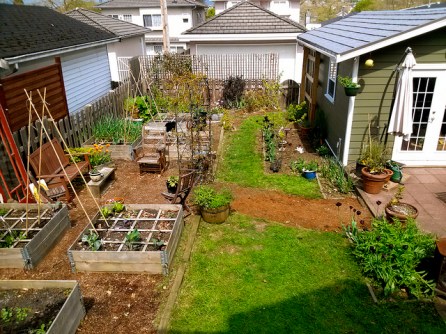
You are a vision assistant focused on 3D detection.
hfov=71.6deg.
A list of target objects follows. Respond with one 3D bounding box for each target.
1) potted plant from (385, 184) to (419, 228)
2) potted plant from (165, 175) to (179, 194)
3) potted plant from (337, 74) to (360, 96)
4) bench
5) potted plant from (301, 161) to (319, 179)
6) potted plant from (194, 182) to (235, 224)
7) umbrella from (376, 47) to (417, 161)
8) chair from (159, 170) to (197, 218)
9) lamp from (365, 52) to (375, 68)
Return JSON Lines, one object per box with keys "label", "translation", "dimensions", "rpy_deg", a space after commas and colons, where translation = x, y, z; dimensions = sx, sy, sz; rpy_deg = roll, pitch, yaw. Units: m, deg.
{"label": "potted plant", "translation": [4.375, 0.974, 7.613], "dimensions": [0.751, 1.083, 0.782], "rpy_deg": [2, 20, 14]}
{"label": "potted plant", "translation": [-1.407, 0.510, 8.575], "dimensions": [0.392, 0.481, 0.464], "rpy_deg": [-2, 25, -5]}
{"label": "potted plant", "translation": [3.782, -2.431, 9.341], "dimensions": [0.568, 0.571, 1.029], "rpy_deg": [-7, 20, -10]}
{"label": "bench", "translation": [-4.719, 0.038, 9.166], "dimensions": [0.919, 1.465, 2.112], "rpy_deg": [-7, 18, -5]}
{"label": "potted plant", "translation": [2.887, 0.047, 10.302], "dimensions": [0.463, 0.386, 0.557], "rpy_deg": [1, 25, 9]}
{"label": "potted plant", "translation": [-0.192, 0.929, 8.252], "dimensions": [0.902, 0.803, 0.868], "rpy_deg": [14, 32, 23]}
{"label": "umbrella", "translation": [5.068, -1.851, 8.753], "dimensions": [0.672, 2.879, 1.074], "rpy_deg": [7, 21, 29]}
{"label": "chair", "translation": [-1.218, 0.777, 8.468], "dimensions": [0.890, 1.360, 0.640], "rpy_deg": [15, 26, 29]}
{"label": "lamp", "translation": [4.195, -3.051, 8.848], "dimensions": [0.267, 0.401, 0.519], "rpy_deg": [5, 21, 23]}
